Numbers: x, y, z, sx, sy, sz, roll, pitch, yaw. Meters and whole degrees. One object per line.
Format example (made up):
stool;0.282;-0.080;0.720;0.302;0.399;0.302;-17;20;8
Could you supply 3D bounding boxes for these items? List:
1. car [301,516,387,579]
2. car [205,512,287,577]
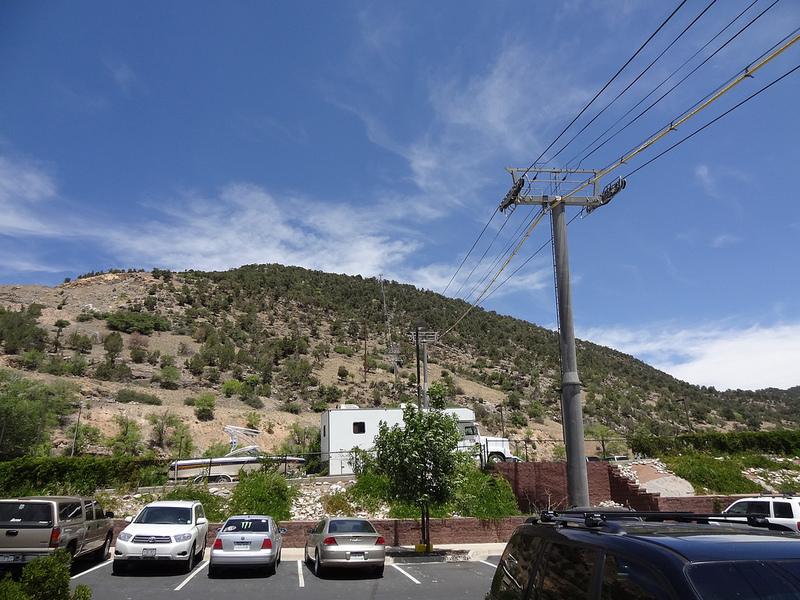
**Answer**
car;-1.558;7.183;16.052;1.298;0.963;2.964;3;-12;-7
car;-4.416;7.006;15.913;1.235;1.021;2.768;1;-10;-5
